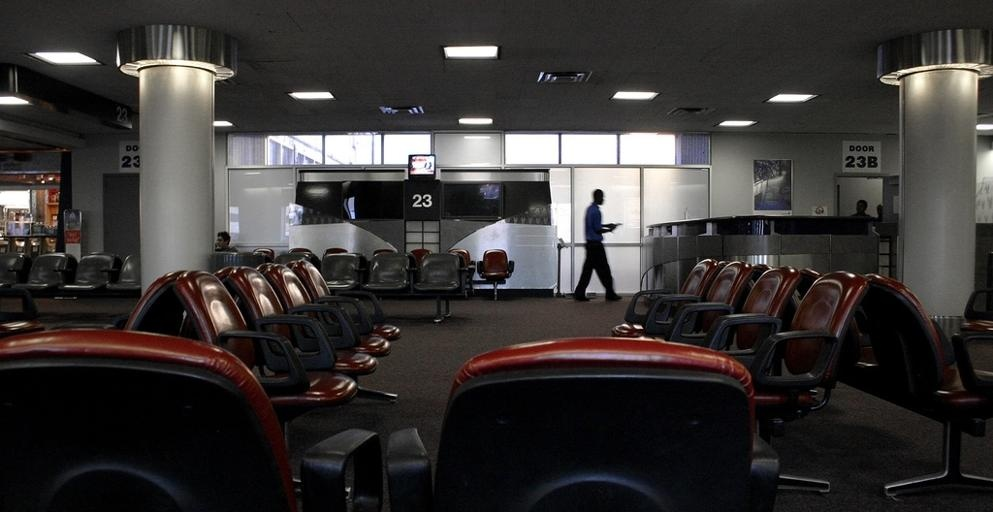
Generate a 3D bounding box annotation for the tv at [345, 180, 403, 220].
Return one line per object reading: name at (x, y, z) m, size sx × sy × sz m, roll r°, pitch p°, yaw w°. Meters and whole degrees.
tv at (-2.785, -1.251, 16.272) m, size 1.782 × 0.955 × 0.843 m, roll 0°, pitch -4°, yaw -1°

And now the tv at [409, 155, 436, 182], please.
tv at (-1.712, -2.008, 15.905) m, size 0.734 × 0.555 × 0.068 m, roll 1°, pitch 0°, yaw -3°

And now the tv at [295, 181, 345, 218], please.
tv at (-4.039, -1.306, 16.449) m, size 1.703 × 0.949 × 0.811 m, roll 1°, pitch 1°, yaw 4°

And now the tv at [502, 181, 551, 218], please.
tv at (0.633, -1.271, 16.384) m, size 1.119 × 0.822 × 0.916 m, roll 0°, pitch -5°, yaw 1°

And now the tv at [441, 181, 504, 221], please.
tv at (-0.534, -1.227, 15.937) m, size 1.108 × 0.589 × 0.111 m, roll 0°, pitch 0°, yaw 3°
